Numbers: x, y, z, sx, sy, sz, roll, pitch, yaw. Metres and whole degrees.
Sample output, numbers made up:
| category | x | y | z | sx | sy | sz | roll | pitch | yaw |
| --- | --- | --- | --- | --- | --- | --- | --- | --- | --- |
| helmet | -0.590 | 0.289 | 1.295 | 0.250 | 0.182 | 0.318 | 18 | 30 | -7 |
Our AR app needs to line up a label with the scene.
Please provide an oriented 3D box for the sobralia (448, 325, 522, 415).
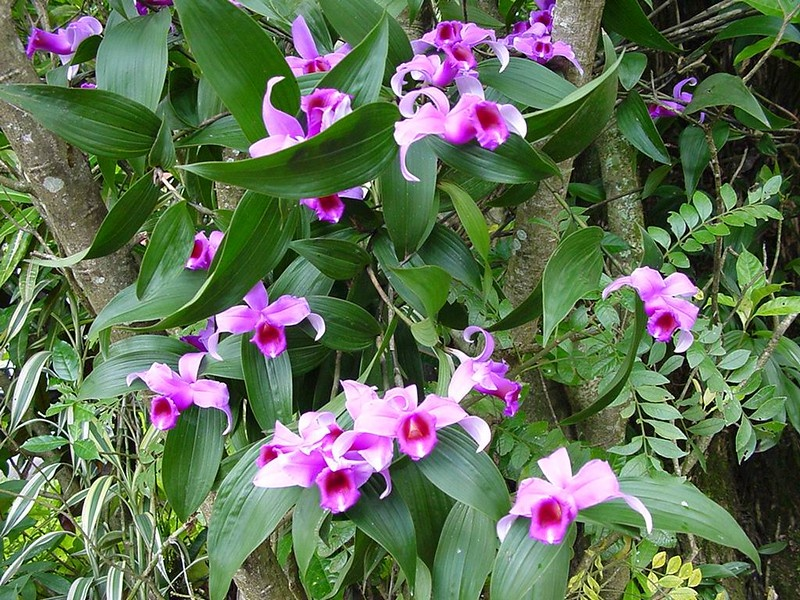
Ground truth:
| category | x | y | z | sx | sy | sz | roll | pitch | yaw |
| --- | --- | --- | --- | --- | --- | --- | --- | --- | --- |
| sobralia | 0.148 | 0.159 | 1.501 | 0.078 | 0.176 | 0.190 | 3 | 64 | 49 |

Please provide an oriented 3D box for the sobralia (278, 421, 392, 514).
| category | x | y | z | sx | sy | sz | roll | pitch | yaw |
| --- | --- | --- | --- | --- | --- | --- | --- | --- | --- |
| sobralia | -0.122 | 0.299 | 1.304 | 0.200 | 0.136 | 0.100 | 16 | 35 | 10 |

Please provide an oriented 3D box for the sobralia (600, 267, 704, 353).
| category | x | y | z | sx | sy | sz | roll | pitch | yaw |
| --- | --- | --- | --- | --- | --- | --- | --- | --- | --- |
| sobralia | 0.533 | -0.010 | 1.565 | 0.150 | 0.202 | 0.289 | 2 | 12 | 9 |
